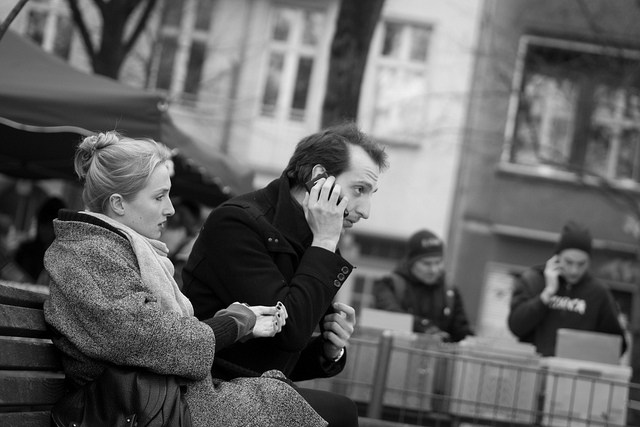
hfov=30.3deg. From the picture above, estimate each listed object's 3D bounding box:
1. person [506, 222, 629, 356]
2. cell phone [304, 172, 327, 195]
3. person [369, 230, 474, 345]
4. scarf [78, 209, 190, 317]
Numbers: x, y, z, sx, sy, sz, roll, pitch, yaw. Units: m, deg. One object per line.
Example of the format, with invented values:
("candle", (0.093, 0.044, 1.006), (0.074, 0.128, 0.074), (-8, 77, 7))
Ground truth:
("person", (2.030, 0.646, 9.829), (1.106, 1.442, 0.922), (6, -5, 8))
("cell phone", (-0.043, -0.216, 8.153), (0.037, 0.133, 0.146), (44, 3, 20))
("person", (1.012, 0.761, 11.425), (0.983, 1.494, 1.015), (2, -22, -8))
("scarf", (-1.058, 0.363, 7.590), (0.767, 0.256, 0.576), (43, 10, -32))
